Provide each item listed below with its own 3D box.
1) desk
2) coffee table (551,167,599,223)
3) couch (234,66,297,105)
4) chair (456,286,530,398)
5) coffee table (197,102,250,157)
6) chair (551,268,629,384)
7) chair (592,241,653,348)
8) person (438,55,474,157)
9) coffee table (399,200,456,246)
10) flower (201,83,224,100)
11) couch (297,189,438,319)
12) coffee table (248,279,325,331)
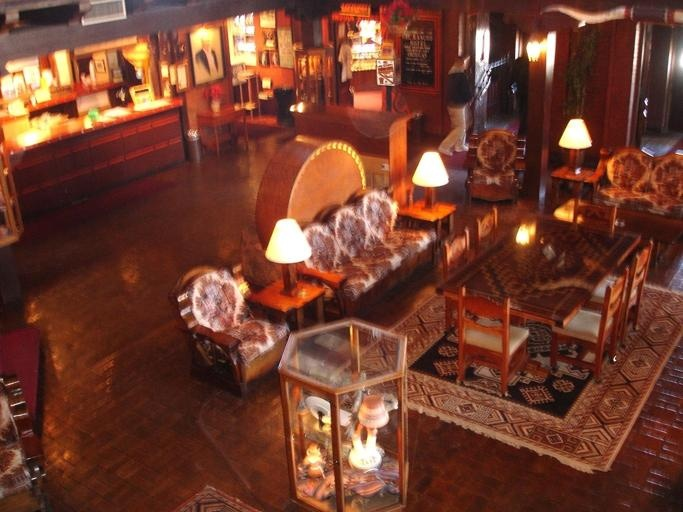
[{"bbox_3d":[2.311,0.151,6.308,1.226,0.531,2.222,17,43,32],"label":"desk"},{"bbox_3d":[3.901,-1.007,9.037,0.790,0.815,0.830,7,35,17],"label":"coffee table"},{"bbox_3d":[-2.116,-4.770,14.967,1.711,0.964,1.526,1,26,8],"label":"couch"},{"bbox_3d":[1.643,0.755,5.831,0.695,1.187,0.859,11,29,29],"label":"chair"},{"bbox_3d":[-2.883,-2.988,12.890,0.627,0.906,1.204,19,39,26],"label":"coffee table"},{"bbox_3d":[2.693,0.783,5.879,0.606,1.086,0.630,20,40,33],"label":"chair"},{"bbox_3d":[3.209,0.470,6.202,0.567,0.984,0.586,27,58,35],"label":"chair"},{"bbox_3d":[2.526,-3.334,11.855,0.629,2.120,1.512,4,26,15],"label":"person"},{"bbox_3d":[1.328,-0.672,8.125,0.779,0.430,0.657,22,43,31],"label":"coffee table"},{"bbox_3d":[-3.079,-3.947,12.869,0.439,0.347,0.447,-1,6,38],"label":"flower"},{"bbox_3d":[0.295,0.012,7.243,0.618,0.799,1.437,23,44,31],"label":"couch"},{"bbox_3d":[-0.638,0.461,6.438,0.640,0.643,0.659,22,42,30],"label":"coffee table"}]
